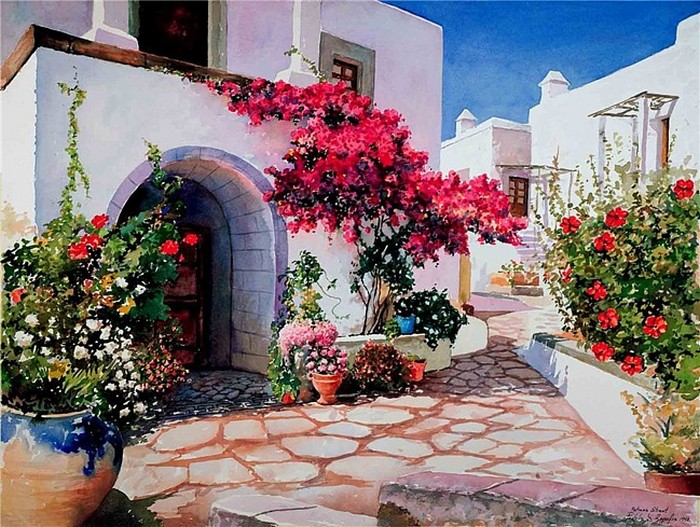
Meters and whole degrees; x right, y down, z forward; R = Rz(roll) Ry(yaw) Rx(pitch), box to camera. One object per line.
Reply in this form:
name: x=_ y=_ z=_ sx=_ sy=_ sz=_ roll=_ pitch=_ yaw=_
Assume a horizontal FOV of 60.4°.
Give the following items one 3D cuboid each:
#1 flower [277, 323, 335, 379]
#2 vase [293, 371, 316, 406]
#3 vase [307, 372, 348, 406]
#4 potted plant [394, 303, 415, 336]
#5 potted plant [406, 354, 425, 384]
flower: x=-0.641 y=1.236 z=8.617 sx=0.582 sy=0.464 sz=0.767 roll=1 pitch=4 yaw=4
vase: x=-0.664 y=1.853 z=8.986 sx=0.351 sy=0.374 sz=0.367 roll=3 pitch=-9 yaw=-30
vase: x=-0.332 y=1.799 z=8.647 sx=0.446 sy=0.413 sz=0.452 roll=3 pitch=-11 yaw=-12
potted plant: x=0.907 y=0.915 z=9.955 sx=0.446 sy=0.590 sz=0.408 roll=-1 pitch=-24 yaw=-1
potted plant: x=1.040 y=1.698 z=9.513 sx=0.321 sy=0.337 sz=0.374 roll=0 pitch=-6 yaw=-1
